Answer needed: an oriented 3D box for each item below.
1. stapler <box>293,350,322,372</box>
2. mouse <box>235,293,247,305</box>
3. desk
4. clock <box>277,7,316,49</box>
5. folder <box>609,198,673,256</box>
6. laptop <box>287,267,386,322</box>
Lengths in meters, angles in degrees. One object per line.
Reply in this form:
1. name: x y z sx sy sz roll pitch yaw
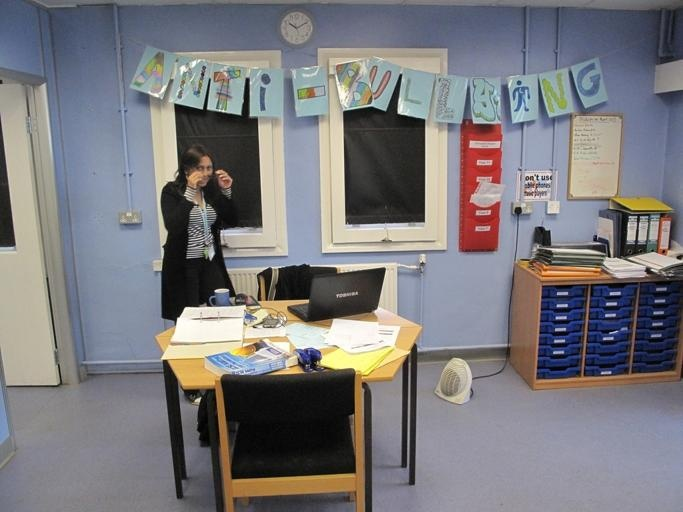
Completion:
1. stapler: -0.174 0.576 2.925 0.080 0.055 0.146 -2 7 -15
2. mouse: -0.682 0.301 3.658 0.080 0.031 0.057 -1 8 -7
3. desk: -0.362 0.850 3.500 1.243 0.860 1.326 -1 7 -2
4. clock: -0.362 -1.833 4.227 0.291 0.308 0.041 -1 16 1
5. folder: 2.477 -0.225 4.444 0.442 0.546 0.293 -1 4 -7
6. laptop: 0.026 0.245 3.388 0.435 0.278 0.375 -4 10 -24
